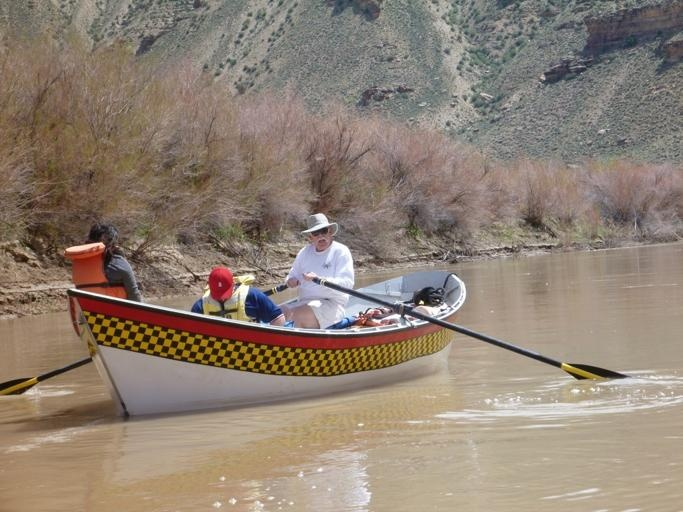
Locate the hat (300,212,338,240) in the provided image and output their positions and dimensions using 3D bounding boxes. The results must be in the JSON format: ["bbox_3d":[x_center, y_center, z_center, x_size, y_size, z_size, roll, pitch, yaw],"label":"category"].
[{"bbox_3d":[-0.366,-0.559,17.811,0.555,0.546,0.267,-22,82,9],"label":"hat"}]

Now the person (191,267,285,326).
[{"bbox_3d":[-1.908,0.745,18.478,1.367,2.034,0.645,-7,62,21],"label":"person"}]

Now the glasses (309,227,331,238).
[{"bbox_3d":[-0.345,-0.379,17.634,0.352,0.209,0.134,-21,79,-8],"label":"glasses"}]

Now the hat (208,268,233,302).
[{"bbox_3d":[-1.938,0.404,16.482,0.464,0.314,0.577,-3,46,3],"label":"hat"}]

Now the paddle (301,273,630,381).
[{"bbox_3d":[2.253,1.352,18.717,4.831,0.479,0.175,20,45,13],"label":"paddle"}]
